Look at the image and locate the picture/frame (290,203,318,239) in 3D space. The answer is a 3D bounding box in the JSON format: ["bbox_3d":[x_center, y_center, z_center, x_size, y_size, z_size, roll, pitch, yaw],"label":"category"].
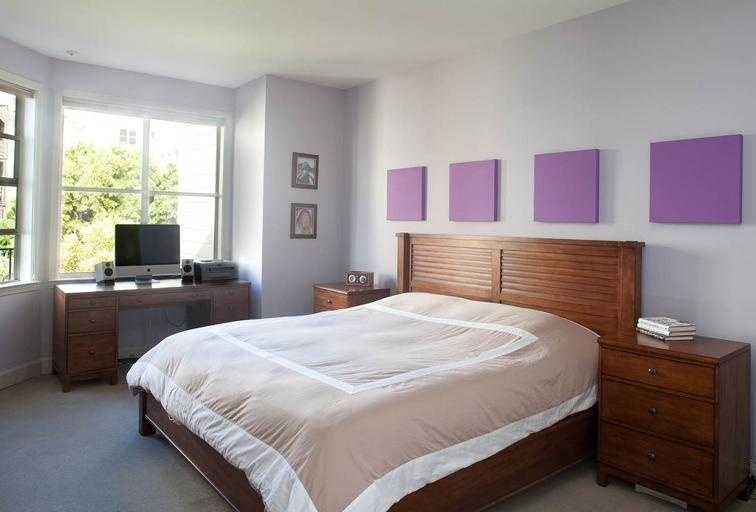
[{"bbox_3d":[-0.891,-0.416,5.855,0.443,0.490,0.040,1,0,-38],"label":"picture/frame"}]

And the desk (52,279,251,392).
[{"bbox_3d":[-2.437,0.784,5.529,0.666,0.911,1.928,2,2,43],"label":"desk"}]

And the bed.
[{"bbox_3d":[0.391,0.508,3.577,2.532,1.483,2.531,-2,2,-43],"label":"bed"}]

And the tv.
[{"bbox_3d":[-2.572,-0.022,5.541,0.646,0.585,0.272,2,-8,-32],"label":"tv"}]

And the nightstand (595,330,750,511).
[{"bbox_3d":[1.979,1.097,3.379,1.010,1.049,0.558,6,14,24],"label":"nightstand"}]
